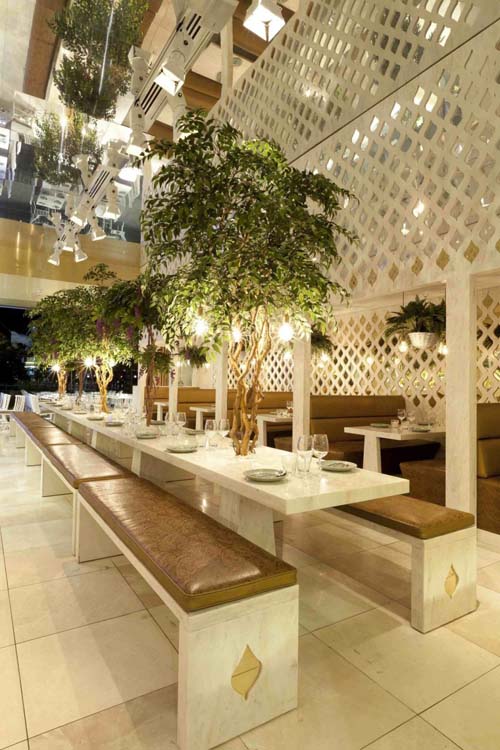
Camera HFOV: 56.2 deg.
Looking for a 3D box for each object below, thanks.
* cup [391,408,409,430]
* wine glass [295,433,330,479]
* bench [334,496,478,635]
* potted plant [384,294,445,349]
[{"bbox_3d":[1.368,0.406,4.239,0.125,0.225,0.219,0,-5,0],"label":"cup"},{"bbox_3d":[0.231,0.305,1.809,0.152,0.243,0.146,-1,-4,4],"label":"wine glass"},{"bbox_3d":[0.678,0.757,1.968,0.390,0.393,0.420,2,-2,-32],"label":"bench"},{"bbox_3d":[1.649,-0.496,4.562,0.528,0.417,0.530,1,3,40],"label":"potted plant"}]
